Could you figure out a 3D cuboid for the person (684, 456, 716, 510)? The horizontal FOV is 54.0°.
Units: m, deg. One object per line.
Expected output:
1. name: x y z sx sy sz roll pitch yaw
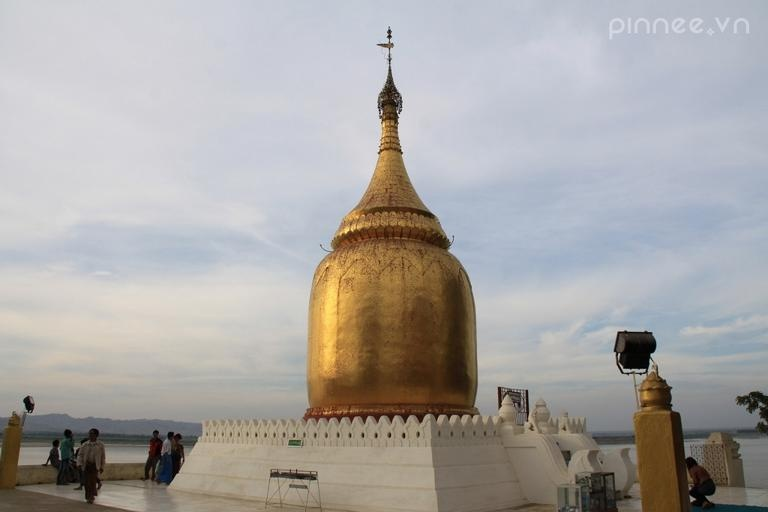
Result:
1. person: 8.267 5.819 19.659 0.588 1.152 1.585 -5 -10 20
